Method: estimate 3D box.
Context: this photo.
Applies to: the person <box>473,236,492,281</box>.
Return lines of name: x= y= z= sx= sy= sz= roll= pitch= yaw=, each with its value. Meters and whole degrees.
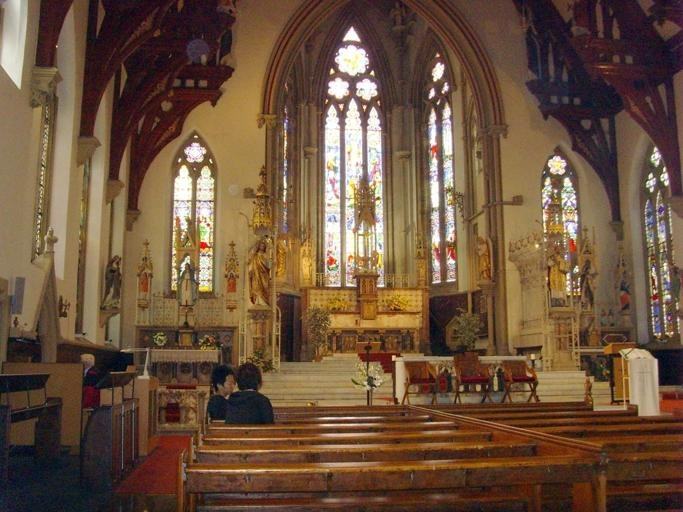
person: x=4.103 y=0.096 z=21.944 sx=0.346 sy=1.391 sz=0.630 roll=2 pitch=-10 yaw=-18

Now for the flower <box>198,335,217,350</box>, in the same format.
flower: x=-3.216 y=2.130 z=18.334 sx=0.333 sy=0.271 sz=0.347 roll=0 pitch=0 yaw=10

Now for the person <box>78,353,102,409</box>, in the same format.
person: x=-3.868 y=1.916 z=11.683 sx=0.264 sy=0.847 sz=2.509 roll=2 pitch=-10 yaw=-19

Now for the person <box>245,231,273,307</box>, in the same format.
person: x=-1.956 y=0.368 z=18.278 sx=0.524 sy=1.685 sz=0.529 roll=0 pitch=-9 yaw=-6

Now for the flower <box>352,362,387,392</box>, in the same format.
flower: x=0.489 y=2.168 z=13.562 sx=0.462 sy=0.487 sz=0.989 roll=-1 pitch=-10 yaw=-2

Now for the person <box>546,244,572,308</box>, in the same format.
person: x=5.664 y=0.538 z=19.681 sx=0.744 sy=1.562 sz=0.495 roll=2 pitch=-10 yaw=-21

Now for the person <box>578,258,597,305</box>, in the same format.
person: x=7.164 y=0.622 z=21.624 sx=0.604 sy=0.485 sz=1.733 roll=3 pitch=-45 yaw=28

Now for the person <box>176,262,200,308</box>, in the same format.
person: x=-3.809 y=0.701 z=18.758 sx=0.476 sy=1.237 sz=0.803 roll=1 pitch=-10 yaw=-13

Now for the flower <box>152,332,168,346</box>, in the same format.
flower: x=-4.544 y=2.098 z=19.010 sx=0.348 sy=0.247 sz=0.352 roll=8 pitch=-5 yaw=-29

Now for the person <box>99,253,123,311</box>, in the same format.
person: x=-5.393 y=0.630 z=17.704 sx=0.440 sy=1.296 sz=0.368 roll=2 pitch=-10 yaw=-21

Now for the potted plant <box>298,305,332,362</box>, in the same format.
potted plant: x=-0.701 y=2.325 z=23.139 sx=0.646 sy=1.682 sz=1.212 roll=2 pitch=-10 yaw=-21
